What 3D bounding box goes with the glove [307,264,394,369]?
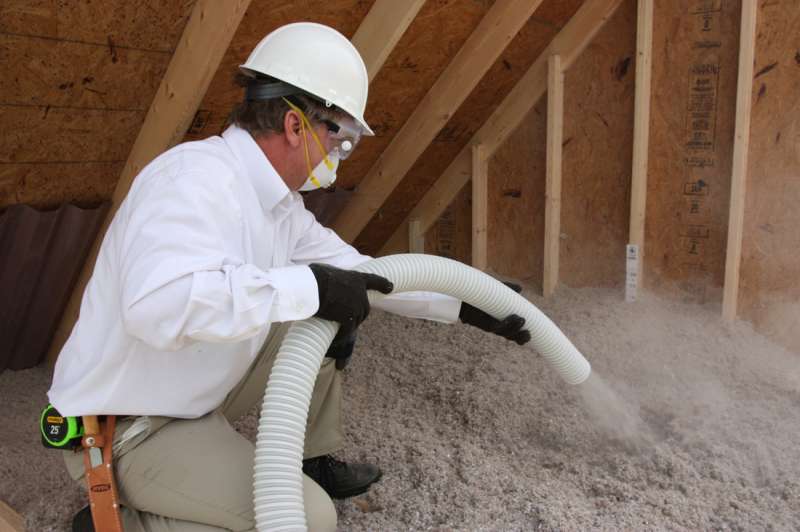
[{"bbox_3d":[-0.194,0.209,2.985,0.331,0.601,0.241,1,57,-8],"label":"glove"}]
